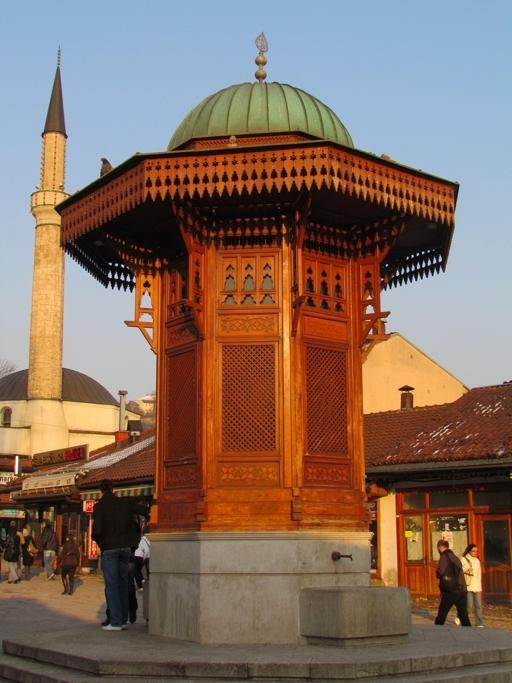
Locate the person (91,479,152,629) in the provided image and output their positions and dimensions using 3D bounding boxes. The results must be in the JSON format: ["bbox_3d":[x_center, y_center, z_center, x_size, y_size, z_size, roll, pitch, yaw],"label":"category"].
[{"bbox_3d":[-1.473,2.210,10.212,0.500,1.492,0.660,-1,-8,8],"label":"person"}]

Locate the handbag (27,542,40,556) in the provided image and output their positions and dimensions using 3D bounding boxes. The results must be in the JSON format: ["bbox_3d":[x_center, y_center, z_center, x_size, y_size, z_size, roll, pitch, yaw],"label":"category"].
[{"bbox_3d":[-5.868,5.399,25.638,0.276,0.367,0.384,2,-20,-3],"label":"handbag"}]
